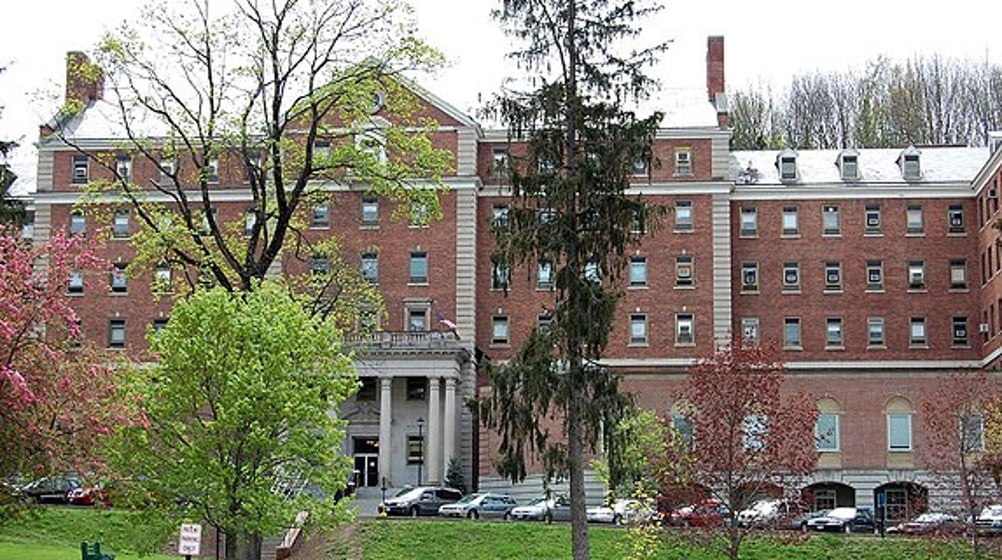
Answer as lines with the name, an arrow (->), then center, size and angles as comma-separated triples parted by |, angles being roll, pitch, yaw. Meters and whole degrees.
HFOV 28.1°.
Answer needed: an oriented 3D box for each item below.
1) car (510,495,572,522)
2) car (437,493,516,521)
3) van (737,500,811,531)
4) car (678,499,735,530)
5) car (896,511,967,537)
car -> 1.934, 13.229, 118.837 | 4.531, 1.307, 2.022 | 3, -10, -13
car -> -1.239, 13.386, 119.561 | 4.727, 1.678, 1.865 | 7, -14, -33
van -> 15.730, 12.446, 107.994 | 4.854, 1.459, 2.294 | 1, -2, -43
car -> 11.633, 13.237, 113.682 | 2.713, 1.102, 1.549 | 6, -15, -15
car -> 23.071, 12.939, 105.936 | 2.706, 1.087, 1.565 | 1, -10, 6
